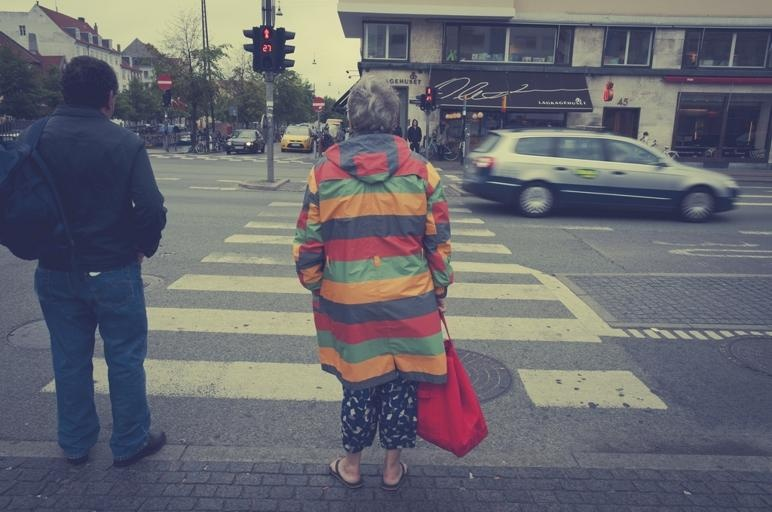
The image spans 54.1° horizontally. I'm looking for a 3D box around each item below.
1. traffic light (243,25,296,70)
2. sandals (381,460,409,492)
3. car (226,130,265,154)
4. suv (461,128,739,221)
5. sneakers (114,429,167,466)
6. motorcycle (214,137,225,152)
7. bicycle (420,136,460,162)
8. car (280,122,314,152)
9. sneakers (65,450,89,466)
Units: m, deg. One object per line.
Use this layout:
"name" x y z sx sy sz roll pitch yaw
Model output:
"traffic light" -2.741 -4.868 17.821 1.119 1.073 1.309 -1 14 -10
"sandals" 0.093 1.895 6.482 0.130 0.079 0.288 8 54 2
"car" -7.304 -5.735 38.564 1.734 1.138 1.309 -3 14 -17
"suv" 4.295 -1.751 15.861 5.317 1.446 2.018 -1 16 1
"sneakers" -2.124 1.695 6.648 0.173 0.190 0.459 13 25 22
"motorcycle" -9.463 -6.265 42.426 0.242 0.829 1.018 3 6 35
"bicycle" 2.347 -4.538 32.410 2.068 1.044 0.870 1 1 -11
"car" -5.024 -6.702 43.400 1.450 1.006 2.314 0 15 0
"sneakers" -2.673 1.745 6.543 0.158 0.153 0.096 39 21 32
